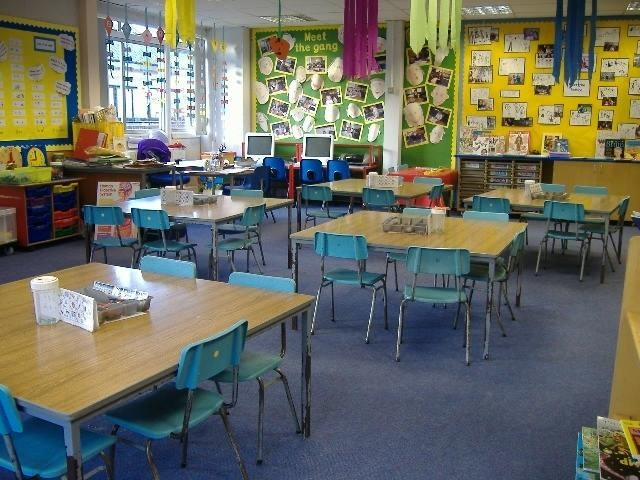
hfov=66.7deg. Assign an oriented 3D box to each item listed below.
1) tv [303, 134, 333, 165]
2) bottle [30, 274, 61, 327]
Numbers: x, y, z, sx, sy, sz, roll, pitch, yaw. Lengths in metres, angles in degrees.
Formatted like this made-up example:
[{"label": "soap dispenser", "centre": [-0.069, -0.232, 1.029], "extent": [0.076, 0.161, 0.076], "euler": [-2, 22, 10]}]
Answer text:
[{"label": "tv", "centre": [-0.041, -2.158, 10.702], "extent": [0.712, 0.755, 0.440], "euler": [-1, 51, -5]}, {"label": "bottle", "centre": [-1.359, 0.280, 2.407], "extent": [0.119, 0.209, 0.230], "euler": [-8, 17, -31]}]
